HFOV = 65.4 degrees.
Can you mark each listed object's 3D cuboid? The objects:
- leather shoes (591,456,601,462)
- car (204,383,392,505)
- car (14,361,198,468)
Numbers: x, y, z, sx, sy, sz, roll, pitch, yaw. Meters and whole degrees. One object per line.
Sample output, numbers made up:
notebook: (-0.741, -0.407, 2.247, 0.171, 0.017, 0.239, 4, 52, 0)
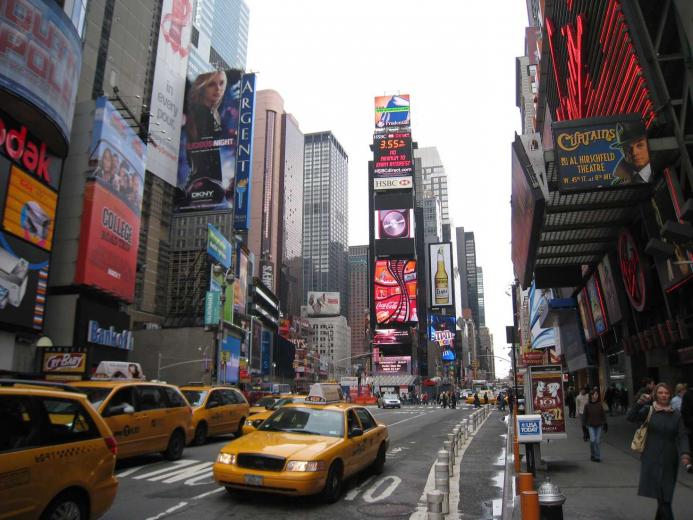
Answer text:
leather shoes: (7.278, 5.737, 15.648, 0.291, 0.247, 0.107, -4, -4, 12)
car: (-0.851, 4.193, 12.228, 2.122, 2.189, 4.195, -10, -19, 27)
car: (-6.220, 4.157, 14.435, 1.877, 2.627, 5.040, -9, -16, 17)
